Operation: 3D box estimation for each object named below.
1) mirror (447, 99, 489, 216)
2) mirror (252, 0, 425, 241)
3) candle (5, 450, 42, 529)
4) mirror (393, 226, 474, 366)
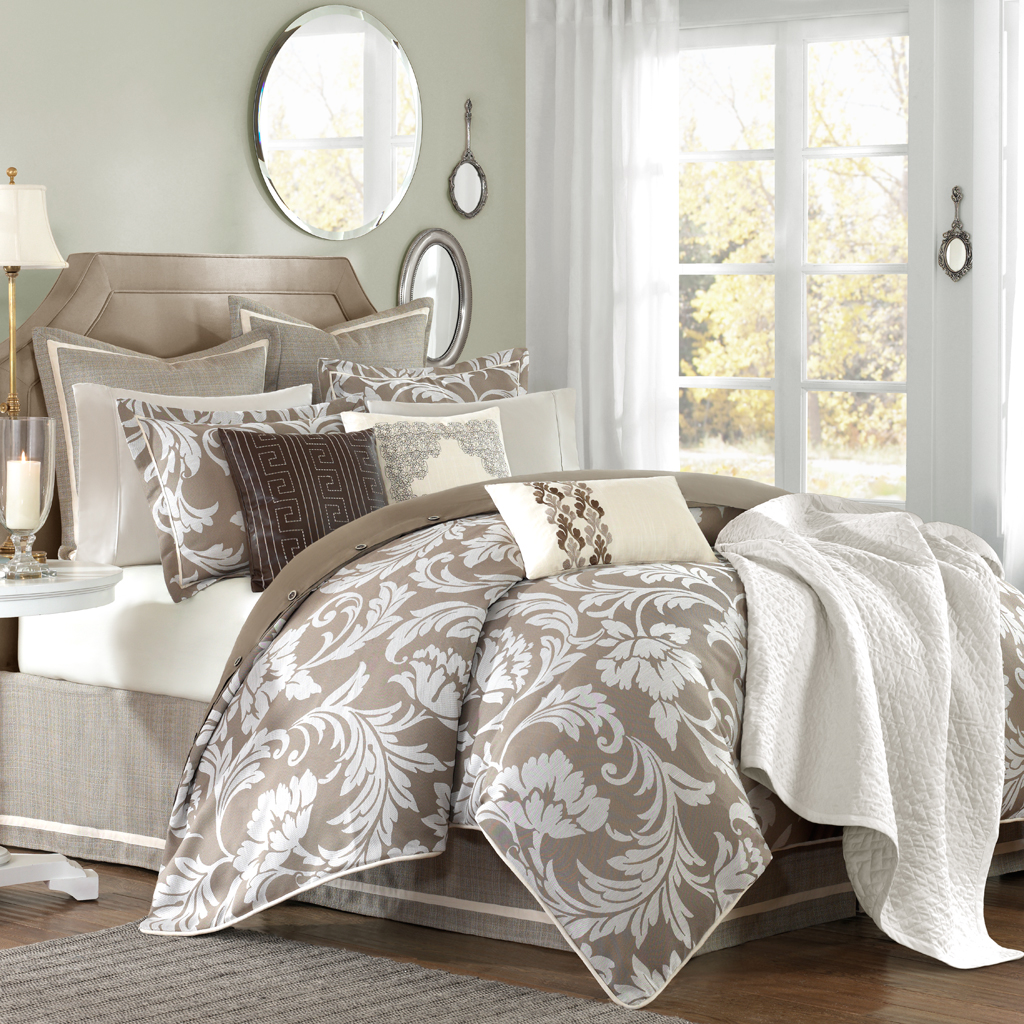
[{"bbox_3d":[-0.182,-1.463,4.598,0.067,0.504,0.260,-2,-6,23],"label":"mirror"},{"bbox_3d":[-0.645,-1.401,3.958,0.039,0.989,1.044,3,6,31],"label":"mirror"},{"bbox_3d":[-0.975,-0.041,2.202,0.067,0.148,0.040,3,-6,-24],"label":"candle"},{"bbox_3d":[-0.311,-0.828,4.238,0.045,0.605,0.630,7,18,31],"label":"mirror"}]
